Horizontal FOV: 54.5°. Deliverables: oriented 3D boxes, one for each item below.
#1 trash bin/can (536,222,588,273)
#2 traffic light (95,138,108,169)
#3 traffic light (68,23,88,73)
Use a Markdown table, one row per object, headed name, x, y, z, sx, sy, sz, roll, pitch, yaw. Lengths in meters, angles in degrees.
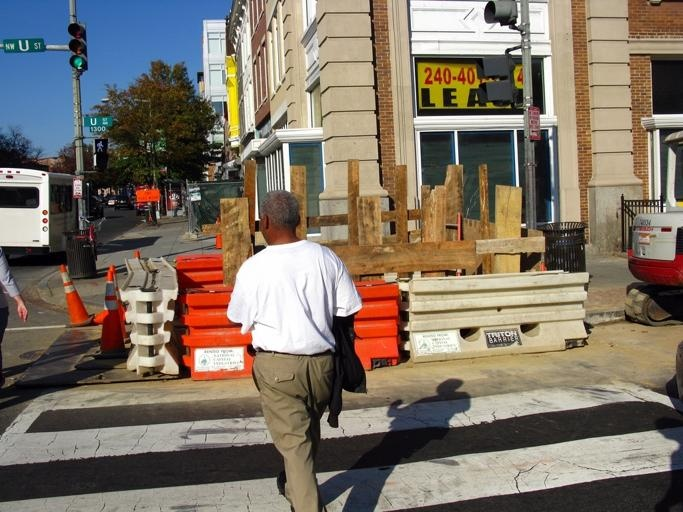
| name | x | y | z | sx | sy | sz | roll | pitch | yaw |
| --- | --- | --- | --- | --- | --- | --- | --- | --- | --- |
| trash bin/can | 4.133 | -0.073 | 12.434 | 0.686 | 1.037 | 0.699 | -5 | 0 | -40 |
| traffic light | -6.998 | -2.951 | 19.385 | 0.368 | 0.905 | 0.868 | -5 | 9 | -23 |
| traffic light | -6.597 | -5.213 | 16.618 | 0.397 | 1.182 | 0.787 | -5 | 9 | -22 |
